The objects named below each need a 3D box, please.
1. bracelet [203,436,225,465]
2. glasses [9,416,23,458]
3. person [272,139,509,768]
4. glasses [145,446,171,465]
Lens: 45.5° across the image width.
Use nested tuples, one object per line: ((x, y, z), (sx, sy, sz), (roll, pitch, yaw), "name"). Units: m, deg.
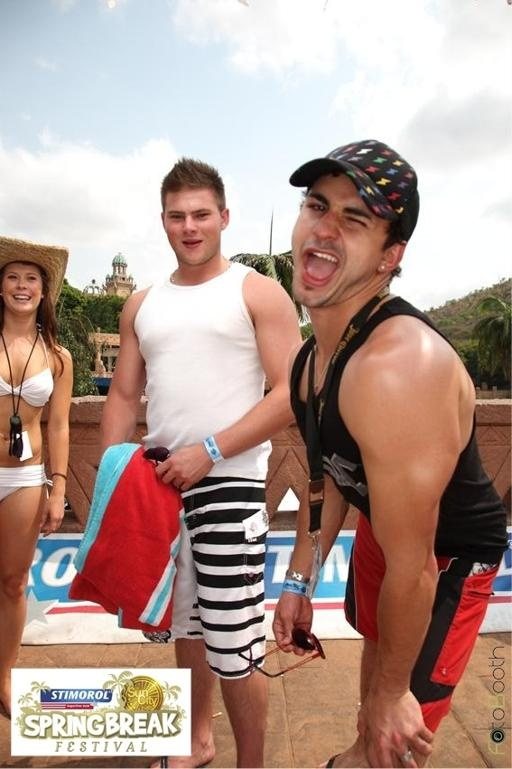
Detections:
((-0.164, 0.258, 2.391), (0.036, 0.095, 0.094), (-30, 29, -2), "bracelet")
((-1.217, 0.273, 3.101), (0.064, 0.223, 0.082), (0, 6, -22), "glasses")
((0.310, 0.178, 1.691), (0.645, 1.706, 0.656), (5, 6, 22), "person")
((-0.391, 0.289, 2.432), (0.094, 0.055, 0.049), (-6, -5, 44), "glasses")
